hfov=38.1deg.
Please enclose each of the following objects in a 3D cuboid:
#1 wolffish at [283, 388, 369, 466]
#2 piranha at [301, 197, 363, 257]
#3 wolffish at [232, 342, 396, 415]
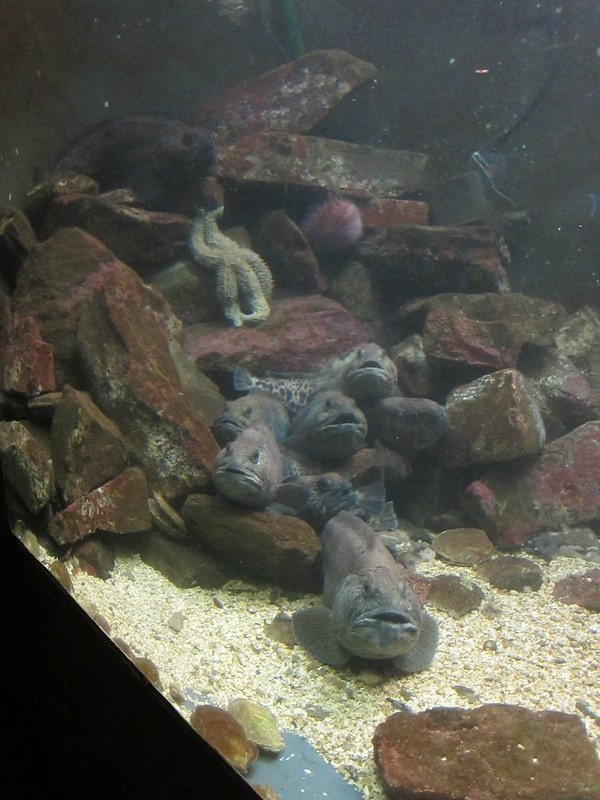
[{"bbox_3d":[0.063,0.066,1.840,0.136,0.120,0.173,-26,42,-21],"label":"wolffish"},{"bbox_3d":[0.068,-0.353,1.788,0.117,0.109,0.047,3,16,7],"label":"piranha"},{"bbox_3d":[0.047,-0.078,1.919,0.386,0.134,0.269,1,17,8],"label":"wolffish"}]
